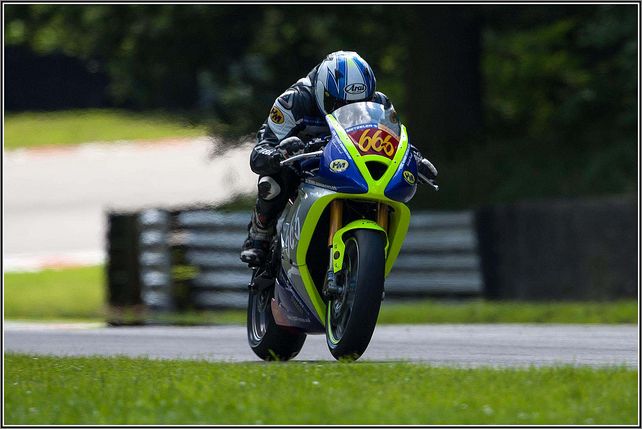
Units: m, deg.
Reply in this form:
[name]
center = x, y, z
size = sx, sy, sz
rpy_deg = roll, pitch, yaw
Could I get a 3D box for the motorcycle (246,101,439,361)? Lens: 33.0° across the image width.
[motorcycle]
center = 0.101, 0.263, 11.965
size = 0.962, 2.994, 1.744
rpy_deg = -5, 8, -45
